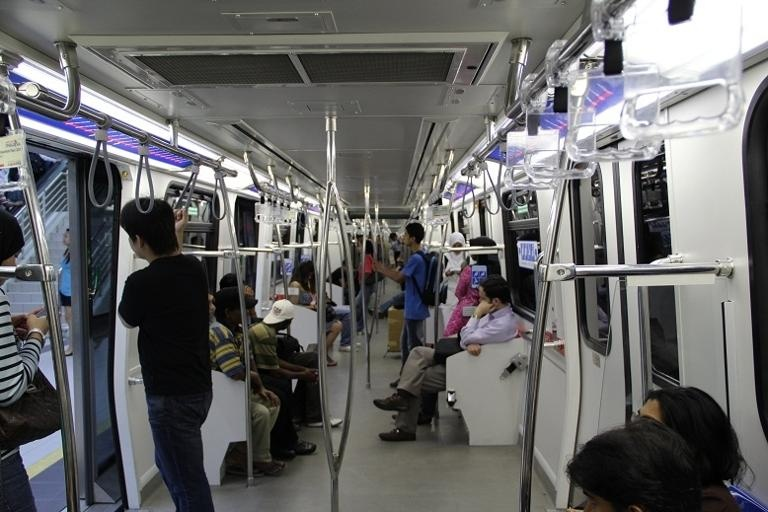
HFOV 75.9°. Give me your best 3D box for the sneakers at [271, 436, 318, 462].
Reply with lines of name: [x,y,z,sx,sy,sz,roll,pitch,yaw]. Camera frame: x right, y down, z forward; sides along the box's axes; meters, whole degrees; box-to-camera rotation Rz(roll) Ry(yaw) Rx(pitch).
sneakers: [-0.828,1.839,4.655,0.422,0.180,0.143,-5,5,-12]

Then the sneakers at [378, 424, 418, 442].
sneakers: [0.152,1.827,5.066,0.416,0.181,0.142,4,-3,2]

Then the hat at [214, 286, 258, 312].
hat: [-1.302,0.421,4.405,0.362,0.192,0.248,-8,8,-19]

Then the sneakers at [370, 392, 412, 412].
sneakers: [0.080,1.504,5.021,0.439,0.203,0.158,4,-11,0]

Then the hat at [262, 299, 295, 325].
hat: [-1.045,0.577,5.007,0.206,0.161,0.310,21,21,27]

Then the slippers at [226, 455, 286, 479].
slippers: [-1.146,1.813,4.377,0.526,0.272,0.130,-1,-2,6]

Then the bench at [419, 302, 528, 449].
bench: [0.911,1.331,5.527,0.966,1.515,1.890,2,-5,4]

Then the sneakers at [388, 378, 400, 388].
sneakers: [0.140,1.684,6.616,0.118,0.144,0.362,2,0,-1]

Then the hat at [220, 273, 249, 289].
hat: [-1.516,0.255,4.968,0.236,0.245,0.184,3,-7,-22]

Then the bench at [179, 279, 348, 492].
bench: [-1.550,1.180,5.385,1.633,2.812,1.114,-1,3,-26]
